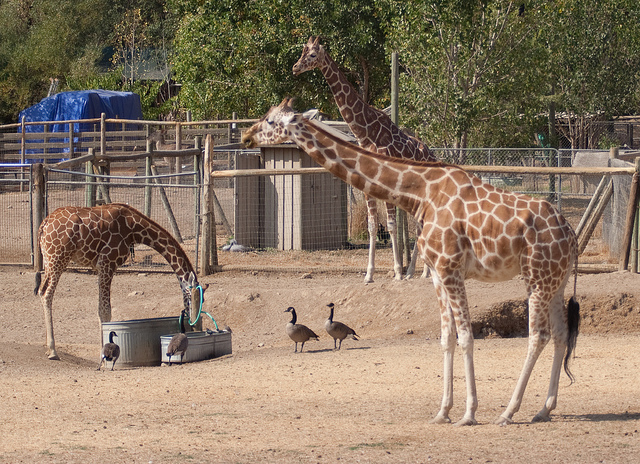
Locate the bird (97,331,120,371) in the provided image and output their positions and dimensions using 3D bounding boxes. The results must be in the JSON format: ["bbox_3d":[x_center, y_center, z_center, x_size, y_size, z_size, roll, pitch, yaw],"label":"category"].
[{"bbox_3d":[-4.982,2.833,34.395,0.419,0.921,0.560,9,0,-3],"label":"bird"}]

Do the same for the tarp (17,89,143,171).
[{"bbox_3d":[-9.607,-4.444,57.699,3.646,2.715,5.016,-6,7,5],"label":"tarp"}]

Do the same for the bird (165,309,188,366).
[{"bbox_3d":[-3.373,2.534,34.440,0.514,1.341,0.687,9,0,-9],"label":"bird"}]

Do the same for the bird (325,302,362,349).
[{"bbox_3d":[0.499,2.253,34.734,0.903,1.114,0.504,2,-5,-29],"label":"bird"}]
